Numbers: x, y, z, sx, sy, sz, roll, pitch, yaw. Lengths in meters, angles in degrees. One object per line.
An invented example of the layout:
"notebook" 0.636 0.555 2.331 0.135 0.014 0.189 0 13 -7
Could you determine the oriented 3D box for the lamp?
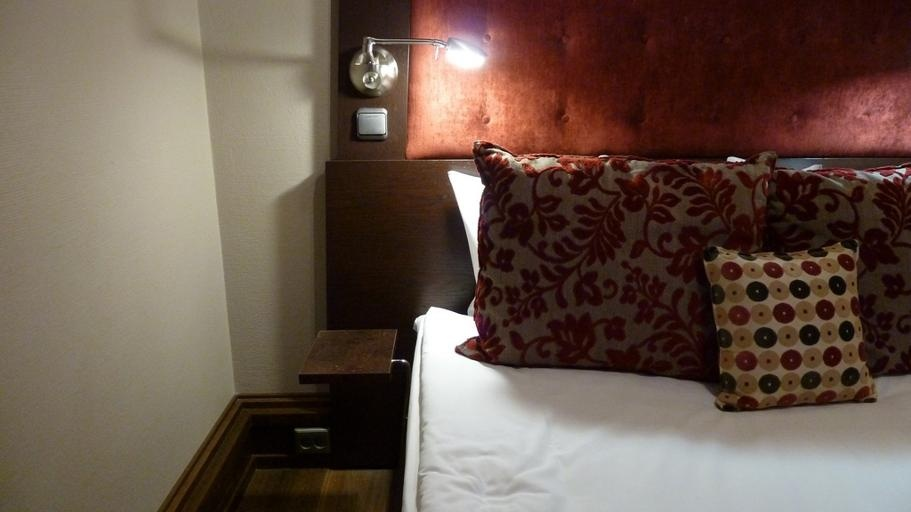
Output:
"lamp" -0.166 -0.768 2.641 0.491 0.229 0.162 -1 -19 0
